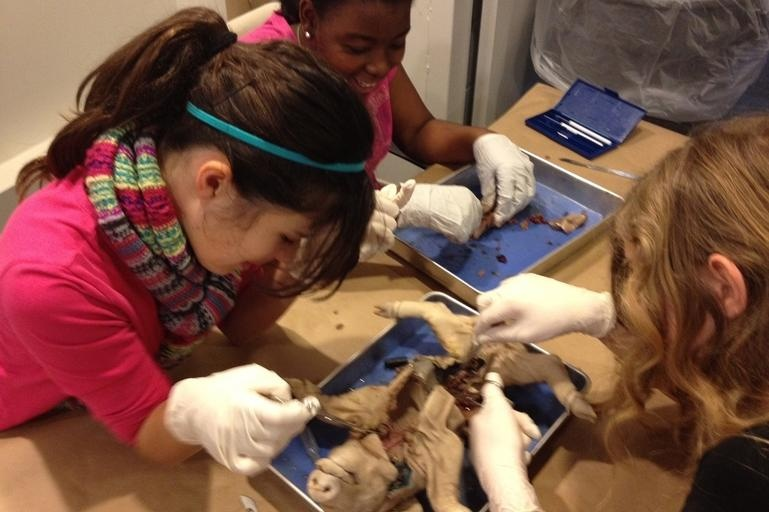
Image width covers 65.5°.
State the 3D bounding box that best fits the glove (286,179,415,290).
[{"bbox_3d":[-0.122,-0.142,2.580,0.152,0.530,0.410,40,12,-20],"label":"glove"}]
